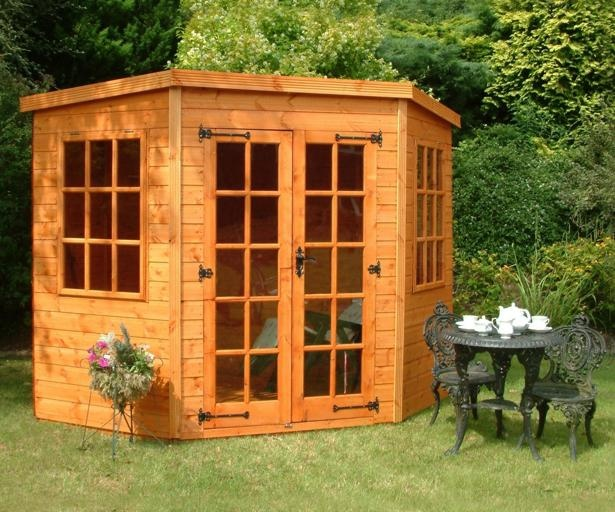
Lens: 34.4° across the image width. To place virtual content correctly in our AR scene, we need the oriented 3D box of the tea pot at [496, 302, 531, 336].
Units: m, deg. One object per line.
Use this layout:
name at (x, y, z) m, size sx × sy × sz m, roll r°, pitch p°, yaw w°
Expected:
tea pot at (2.198, 0.681, 10.821) m, size 0.368 × 0.327 × 0.299 m, roll 3°, pitch 5°, yaw 36°

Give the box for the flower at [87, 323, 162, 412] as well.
flower at (-2.030, 1.268, 10.940) m, size 0.745 × 0.890 × 0.710 m, roll 4°, pitch 22°, yaw -19°

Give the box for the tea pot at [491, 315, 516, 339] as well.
tea pot at (2.126, 0.787, 10.809) m, size 0.220 × 0.224 × 0.159 m, roll -1°, pitch -1°, yaw 31°

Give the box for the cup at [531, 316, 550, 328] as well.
cup at (2.575, 0.737, 11.001) m, size 0.175 × 0.140 × 0.144 m, roll 1°, pitch 0°, yaw 26°

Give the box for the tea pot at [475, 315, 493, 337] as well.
tea pot at (1.930, 0.770, 10.932) m, size 0.183 × 0.196 × 0.185 m, roll 0°, pitch 0°, yaw 0°
